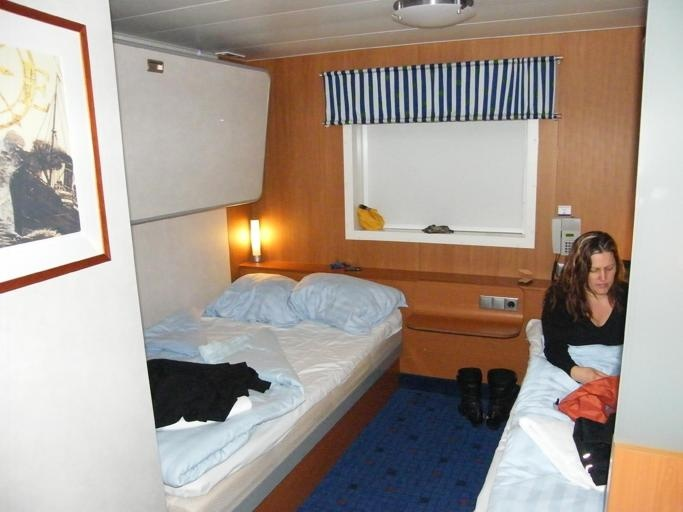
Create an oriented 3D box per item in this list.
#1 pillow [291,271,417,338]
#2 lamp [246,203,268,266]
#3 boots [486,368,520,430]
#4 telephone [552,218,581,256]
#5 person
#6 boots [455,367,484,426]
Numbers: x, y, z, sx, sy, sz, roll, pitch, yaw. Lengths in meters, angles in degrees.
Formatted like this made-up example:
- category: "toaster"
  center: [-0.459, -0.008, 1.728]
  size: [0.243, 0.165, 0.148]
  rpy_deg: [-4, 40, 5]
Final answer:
- category: "pillow"
  center: [-0.012, 0.341, 4.008]
  size: [0.564, 0.173, 0.494]
  rpy_deg: [9, 23, 24]
- category: "lamp"
  center: [-0.831, -0.224, 5.006]
  size: [0.142, 0.558, 0.148]
  rpy_deg: [1, 11, 15]
- category: "boots"
  center: [1.172, 1.018, 3.771]
  size: [0.170, 0.219, 0.514]
  rpy_deg: [3, 15, 18]
- category: "telephone"
  center: [1.720, -0.149, 4.016]
  size: [0.198, 0.263, 0.188]
  rpy_deg: [1, 2, 17]
- category: "person"
  center: [1.469, 0.288, 3.012]
  size: [0.502, 0.746, 0.760]
  rpy_deg: [-1, 9, 19]
- category: "boots"
  center: [0.964, 1.048, 3.919]
  size: [0.137, 0.404, 0.175]
  rpy_deg: [-10, -30, 29]
